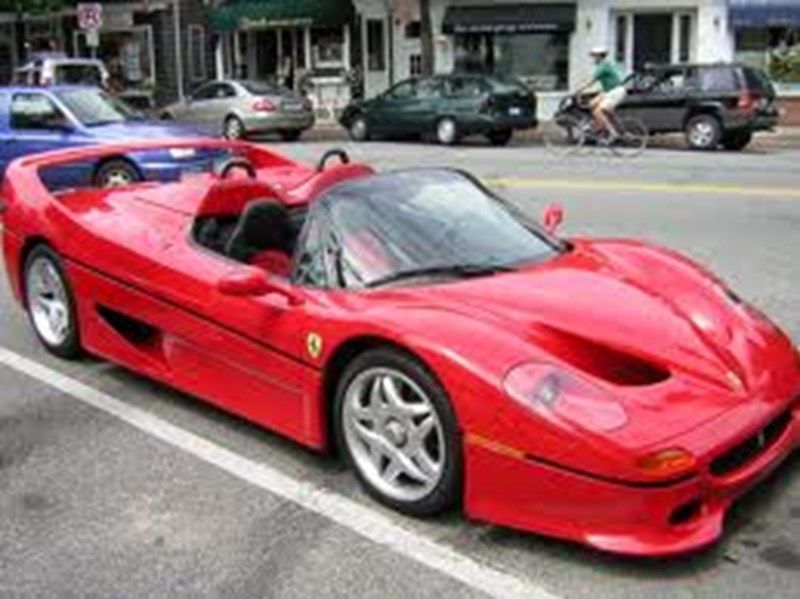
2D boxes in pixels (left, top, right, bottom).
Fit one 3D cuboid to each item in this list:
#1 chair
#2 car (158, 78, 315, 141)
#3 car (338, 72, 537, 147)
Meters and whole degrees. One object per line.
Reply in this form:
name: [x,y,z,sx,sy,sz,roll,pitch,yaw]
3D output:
chair: [-0.526,-0.324,3.429,0.908,0.272,0.712,2,8,39]
car: [-6.360,-6.496,21.541,6.789,1.816,3.048,10,19,26]
car: [1.107,-6.389,19.846,6.051,1.721,2.824,13,25,31]
